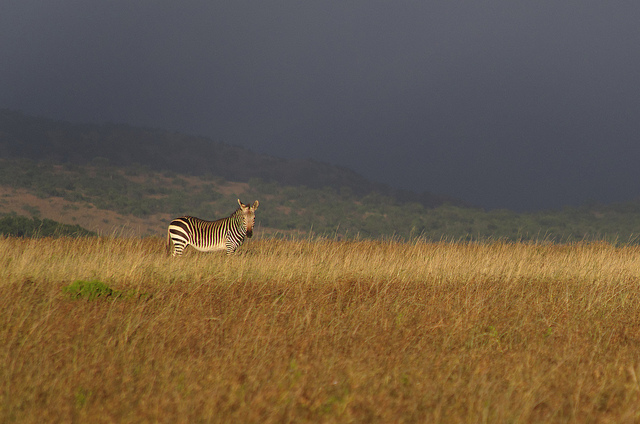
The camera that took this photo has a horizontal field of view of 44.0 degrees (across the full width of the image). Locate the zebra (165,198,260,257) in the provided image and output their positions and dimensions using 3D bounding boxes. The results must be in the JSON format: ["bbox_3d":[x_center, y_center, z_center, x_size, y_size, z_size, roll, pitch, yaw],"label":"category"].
[{"bbox_3d":[-4.391,0.629,32.458,3.900,2.240,1.159,15,4,22],"label":"zebra"}]
